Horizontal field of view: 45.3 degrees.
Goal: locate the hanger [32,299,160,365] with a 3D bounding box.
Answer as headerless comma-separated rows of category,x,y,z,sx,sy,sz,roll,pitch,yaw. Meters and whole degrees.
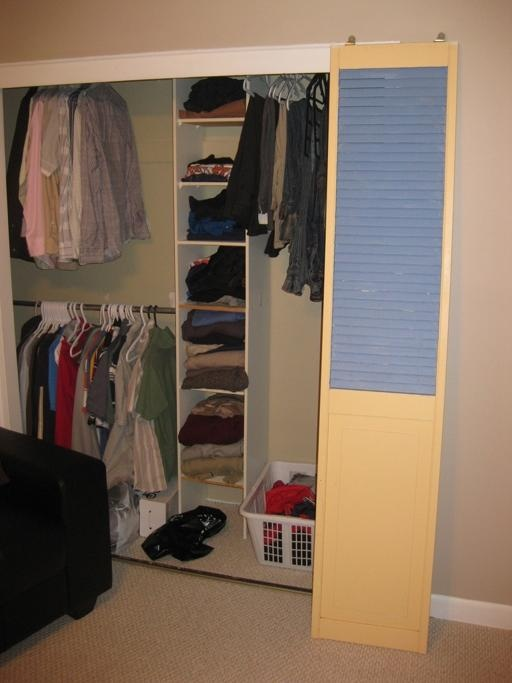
hanger,-0.709,-0.079,3.014,0.838,0.308,0.255,2,20,5
